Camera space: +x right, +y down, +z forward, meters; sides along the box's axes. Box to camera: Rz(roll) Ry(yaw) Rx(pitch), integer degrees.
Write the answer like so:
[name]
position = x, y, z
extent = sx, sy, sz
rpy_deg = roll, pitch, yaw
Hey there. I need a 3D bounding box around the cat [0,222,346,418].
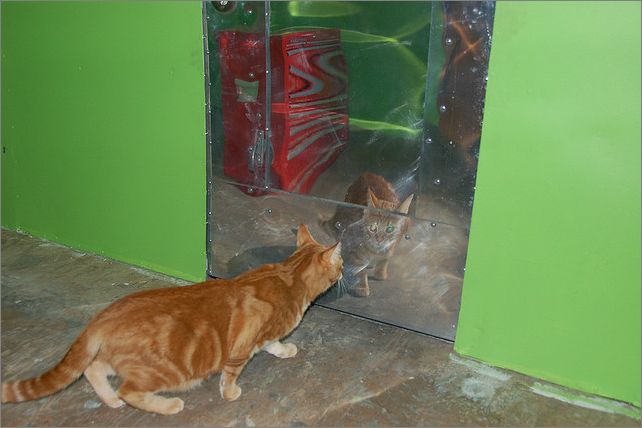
[cat]
position = -0.741, 0.656, 3.188
extent = 1.846, 0.989, 0.594
rpy_deg = -8, 31, -37
